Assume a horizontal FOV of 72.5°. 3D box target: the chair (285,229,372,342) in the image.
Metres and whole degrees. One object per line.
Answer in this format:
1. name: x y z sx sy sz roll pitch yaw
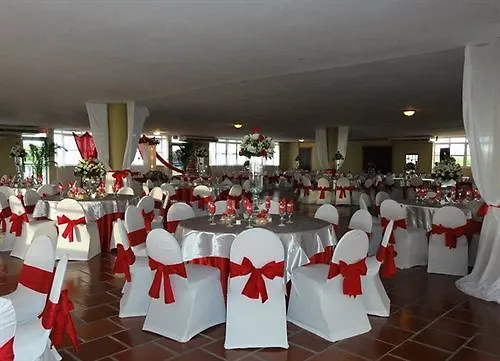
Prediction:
1. chair: 0.786 0.968 3.456 0.646 1.022 0.847 3 2 -17

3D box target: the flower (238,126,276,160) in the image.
1. flower: 0.088 -0.453 4.139 0.351 0.351 0.370 4 5 28

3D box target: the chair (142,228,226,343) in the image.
1. chair: -0.633 0.934 3.391 0.659 1.055 0.711 5 10 43

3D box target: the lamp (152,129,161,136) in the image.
1. lamp: -4.391 -2.240 16.056 0.347 0.285 2.993 -3 9 -15

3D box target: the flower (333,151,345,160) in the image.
1. flower: 3.308 -0.948 12.695 0.291 0.507 0.312 -2 10 2

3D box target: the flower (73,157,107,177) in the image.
1. flower: -2.845 -0.212 6.042 0.365 0.298 0.393 3 1 -2

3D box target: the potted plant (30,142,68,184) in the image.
1. potted plant: -7.913 -0.670 13.289 1.570 1.832 1.388 -1 7 -43

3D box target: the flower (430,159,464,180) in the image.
1. flower: 3.344 -0.173 5.776 0.359 0.435 0.401 1 -5 39

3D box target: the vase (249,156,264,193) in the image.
1. vase: 0.080 -0.063 4.073 0.179 0.458 0.243 0 9 2

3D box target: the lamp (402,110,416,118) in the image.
1. lamp: 4.182 -1.817 9.072 0.270 0.118 0.268 -1 -1 -41
